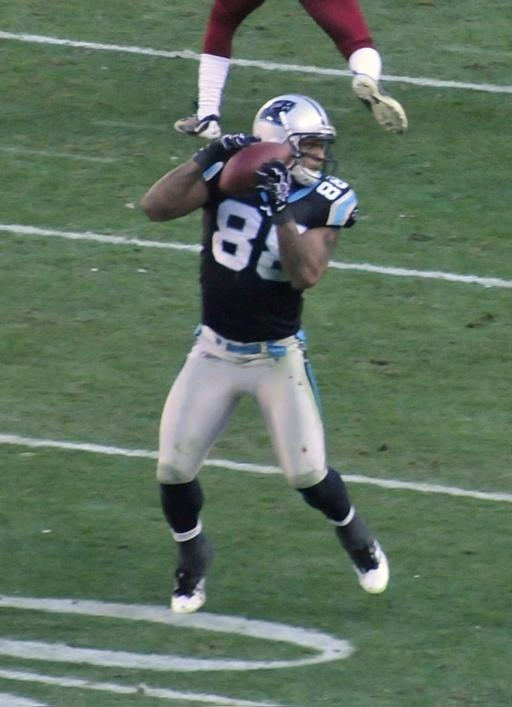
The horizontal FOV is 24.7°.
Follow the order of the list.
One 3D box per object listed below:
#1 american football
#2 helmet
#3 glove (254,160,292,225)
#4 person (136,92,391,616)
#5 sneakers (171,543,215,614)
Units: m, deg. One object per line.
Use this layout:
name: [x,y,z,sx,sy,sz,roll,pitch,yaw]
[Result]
american football: [-0.018,-0.663,4.130,0.275,0.068,0.179,-19,9,4]
helmet: [0.252,-0.832,4.498,0.491,0.331,0.316,5,14,13]
glove: [0.055,-0.574,4.100,0.103,0.172,0.171,-12,4,-42]
person: [0.031,0.032,4.521,0.877,1.960,1.075,-2,33,-20]
sneakers: [-0.251,0.860,4.548,0.146,0.141,0.283,6,66,-3]
